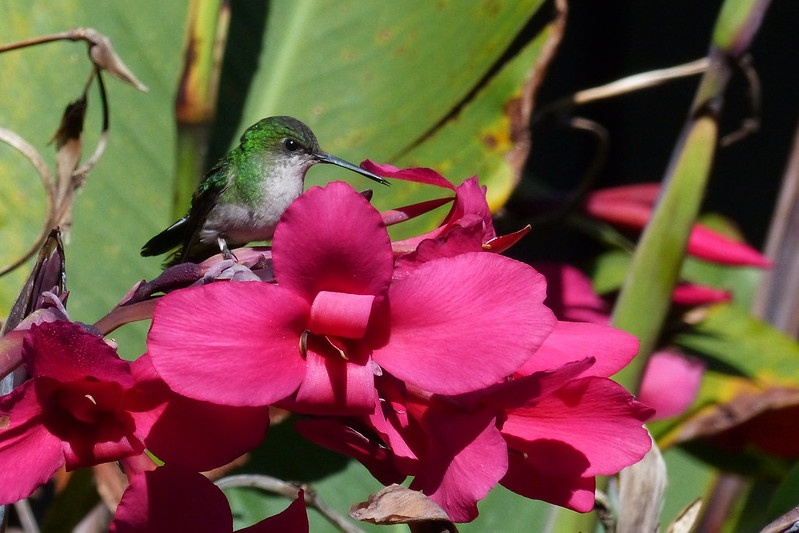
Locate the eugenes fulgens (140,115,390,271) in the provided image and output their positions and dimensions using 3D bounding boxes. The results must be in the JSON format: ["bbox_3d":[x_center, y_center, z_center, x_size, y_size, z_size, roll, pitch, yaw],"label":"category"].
[{"bbox_3d":[-0.235,-0.114,1.344,0.428,0.263,0.166,11,8,25],"label":"eugenes fulgens"}]
